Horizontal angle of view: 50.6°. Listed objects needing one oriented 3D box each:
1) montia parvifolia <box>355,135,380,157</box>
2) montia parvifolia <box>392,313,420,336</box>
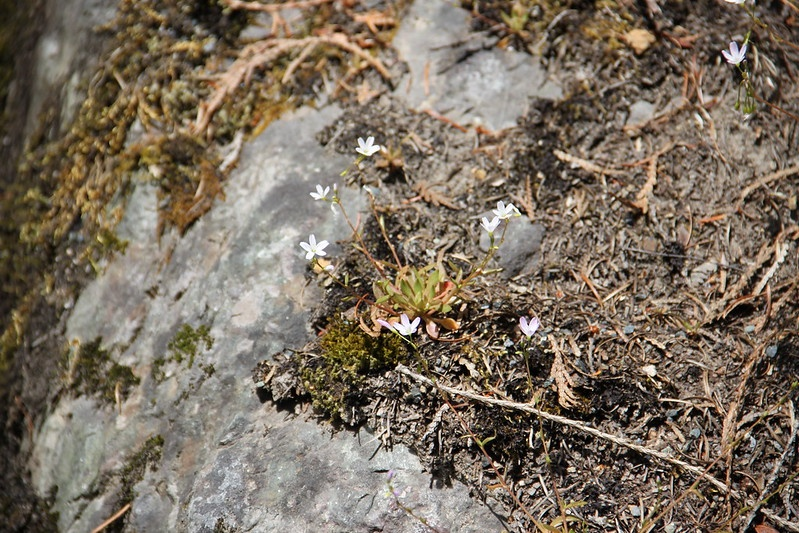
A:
[{"bbox_3d":[-0.283,-1.128,7.938,0.222,0.099,0.253,0,78,9],"label":"montia parvifolia"},{"bbox_3d":[0.075,0.539,7.592,0.192,0.105,0.222,0,80,8],"label":"montia parvifolia"}]
